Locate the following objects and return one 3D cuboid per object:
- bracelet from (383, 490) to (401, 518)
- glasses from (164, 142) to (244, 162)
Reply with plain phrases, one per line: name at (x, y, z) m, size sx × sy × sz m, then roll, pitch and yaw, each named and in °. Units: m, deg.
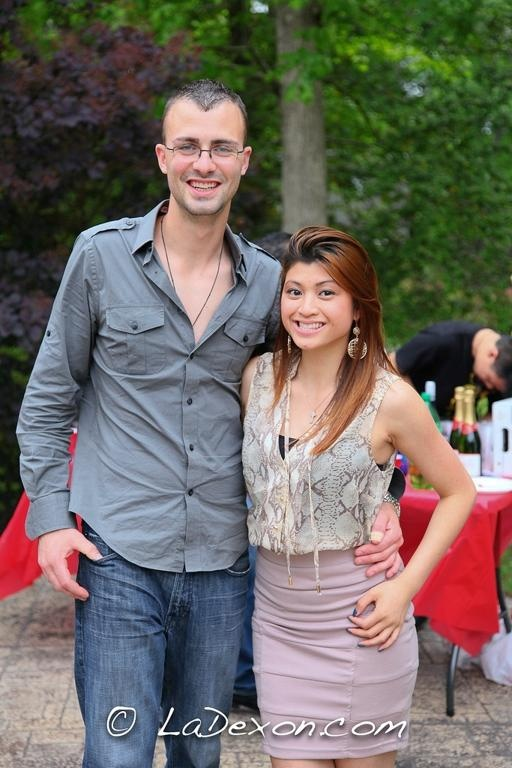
bracelet at (0.274, 0.256, 1.561) m, size 0.043 × 0.020 × 0.052 m, roll 15°, pitch 29°, yaw -42°
glasses at (-0.104, -0.454, 1.461) m, size 0.145 × 0.035 × 0.050 m, roll 0°, pitch 4°, yaw -6°
